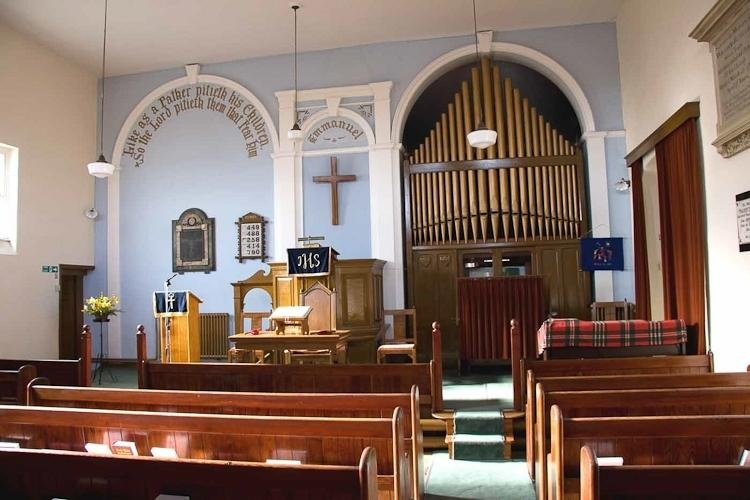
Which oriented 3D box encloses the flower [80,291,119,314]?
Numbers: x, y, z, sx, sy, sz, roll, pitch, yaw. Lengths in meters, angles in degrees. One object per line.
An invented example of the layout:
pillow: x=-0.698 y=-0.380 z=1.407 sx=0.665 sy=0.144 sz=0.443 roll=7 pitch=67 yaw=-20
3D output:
flower: x=-5.054 y=0.996 z=13.646 sx=0.545 sy=0.381 sz=0.545 roll=0 pitch=2 yaw=-30

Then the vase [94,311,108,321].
vase: x=-4.986 y=1.173 z=13.550 sx=0.275 sy=0.213 sz=0.368 roll=2 pitch=-3 yaw=-21

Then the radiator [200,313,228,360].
radiator: x=-3.066 y=1.588 z=14.149 sx=0.681 sy=0.816 sz=0.791 roll=0 pitch=-3 yaw=-4
